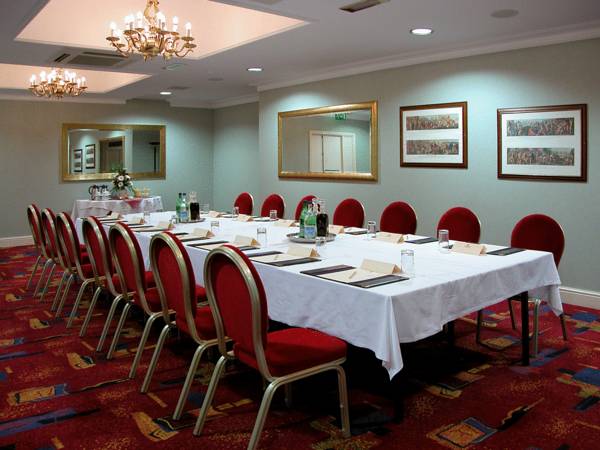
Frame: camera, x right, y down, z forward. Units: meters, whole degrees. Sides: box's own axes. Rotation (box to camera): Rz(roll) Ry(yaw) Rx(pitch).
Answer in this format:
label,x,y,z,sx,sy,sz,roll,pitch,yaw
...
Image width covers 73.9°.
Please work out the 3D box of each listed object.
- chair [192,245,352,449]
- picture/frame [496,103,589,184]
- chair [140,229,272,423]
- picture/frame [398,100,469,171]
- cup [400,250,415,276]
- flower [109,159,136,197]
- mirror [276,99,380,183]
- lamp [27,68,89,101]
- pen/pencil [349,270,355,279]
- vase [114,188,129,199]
label,x,y,z,sx,sy,sz,roll,pitch,yaw
chair,-0.170,0.671,2.302,0.771,1.153,0.591,-5,9,-35
picture/frame,2.974,-1.001,4.855,0.965,1.058,0.128,2,6,41
chair,-0.604,0.495,3.094,0.994,1.698,0.852,-6,12,-39
picture/frame,1.941,-1.295,5.726,1.036,0.983,0.038,2,1,43
cup,0.672,0.234,2.507,0.072,0.155,0.132,1,7,11
flower,-3.555,-0.859,8.054,0.360,0.630,0.377,-1,7,-5
mirror,0.449,-1.408,7.028,2.129,1.297,0.093,6,9,41
lamp,-4.370,-2.559,7.195,0.761,0.583,0.839,2,14,31
pen/pencil,0.325,0.315,2.477,0.016,0.014,0.098,3,9,19
vase,-3.524,-0.612,7.936,0.185,0.190,0.193,8,14,29
